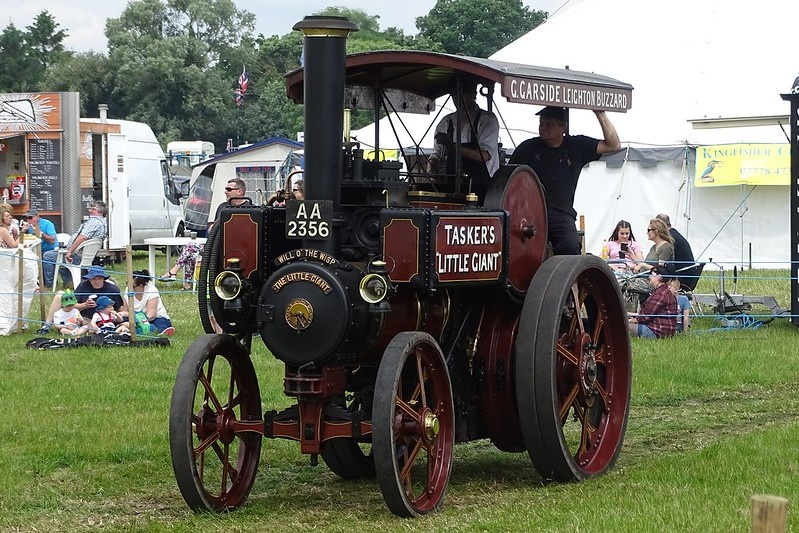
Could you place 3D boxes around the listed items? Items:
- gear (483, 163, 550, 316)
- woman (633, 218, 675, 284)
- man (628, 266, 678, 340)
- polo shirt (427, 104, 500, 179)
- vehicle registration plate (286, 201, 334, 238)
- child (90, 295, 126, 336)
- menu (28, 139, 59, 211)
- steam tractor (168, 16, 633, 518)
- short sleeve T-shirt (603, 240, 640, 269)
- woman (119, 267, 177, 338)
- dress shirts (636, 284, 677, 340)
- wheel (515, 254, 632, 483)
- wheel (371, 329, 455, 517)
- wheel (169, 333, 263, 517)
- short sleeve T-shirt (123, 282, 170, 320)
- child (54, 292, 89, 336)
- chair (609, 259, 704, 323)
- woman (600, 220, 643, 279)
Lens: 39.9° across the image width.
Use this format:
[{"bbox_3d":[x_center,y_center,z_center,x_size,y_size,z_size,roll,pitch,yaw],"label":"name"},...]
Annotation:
[{"bbox_3d":[1.105,-0.210,10.443,0.455,1.353,1.244,3,15,29],"label":"gear"},{"bbox_3d":[4.188,-0.372,17.673,0.838,1.172,0.781,1,-1,20],"label":"woman"},{"bbox_3d":[3.780,0.513,16.990,1.099,1.133,0.821,4,3,16],"label":"man"},{"bbox_3d":[0.672,-1.234,11.208,0.741,0.817,0.560,-1,13,19],"label":"polo shirt"},{"bbox_3d":[-0.809,-0.413,9.642,0.446,0.328,0.024,3,3,18],"label":"vehicle registration plate"},{"bbox_3d":[-4.326,0.754,16.433,0.616,0.605,0.454,3,7,5],"label":"child"},{"bbox_3d":[-7.669,-1.937,23.669,0.723,1.555,0.321,-1,1,-8],"label":"menu"},{"bbox_3d":[0.045,-0.046,10.293,4.424,4.337,1.834,-1,1,-18],"label":"steam tractor"},{"bbox_3d":[3.746,-0.204,18.358,0.467,0.404,0.256,-2,-21,7],"label":"short sleeve T-shirt"},{"bbox_3d":[-3.965,0.560,16.680,1.114,0.966,0.694,3,20,21],"label":"woman"},{"bbox_3d":[3.961,0.657,16.615,0.775,0.781,0.607,0,-6,13],"label":"dress shirts"},{"bbox_3d":[1.669,0.989,10.648,0.625,2.230,1.998,-1,8,40],"label":"wheel"},{"bbox_3d":[0.127,1.349,9.651,0.347,1.569,0.905,-1,1,31],"label":"wheel"},{"bbox_3d":[-1.809,1.357,10.918,0.828,1.561,2.838,-1,1,-8],"label":"wheel"},{"bbox_3d":[-3.795,0.479,16.721,0.814,0.753,0.479,-1,-1,28],"label":"short sleeve T-shirt"},{"bbox_3d":[-4.971,0.681,16.452,0.494,0.624,0.741,-1,1,-18],"label":"child"},{"bbox_3d":[4.184,0.352,17.540,1.425,1.136,1.181,5,-4,4],"label":"chair"},{"bbox_3d":[3.822,-0.249,18.885,0.664,1.144,0.704,-10,-25,38],"label":"woman"}]
